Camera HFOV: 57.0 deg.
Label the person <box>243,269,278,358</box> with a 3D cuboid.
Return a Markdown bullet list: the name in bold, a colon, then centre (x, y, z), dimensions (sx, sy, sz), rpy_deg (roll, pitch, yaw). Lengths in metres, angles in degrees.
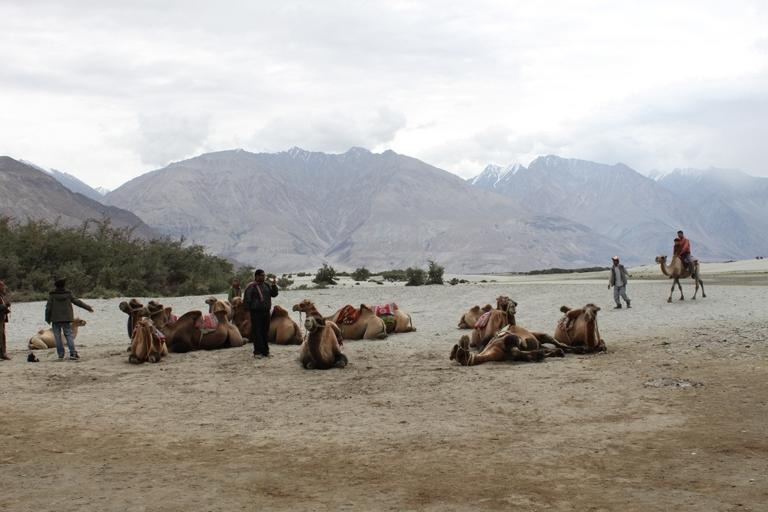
- **person**: centre (-2.988, 1.307, 17.297), dimensions (1.006, 1.943, 0.711), rpy_deg (0, 0, 23)

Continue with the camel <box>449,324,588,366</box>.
- **camel**: centre (3.026, 2.078, 16.247), dimensions (3.005, 0.744, 1.031), rpy_deg (-5, 13, -17)

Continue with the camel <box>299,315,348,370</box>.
- **camel**: centre (-1.406, 1.886, 15.841), dimensions (0.971, 1.307, 0.804), rpy_deg (-9, 15, -28)

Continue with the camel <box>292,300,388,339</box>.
- **camel**: centre (-1.398, 1.824, 19.415), dimensions (3.063, 1.342, 1.078), rpy_deg (3, -3, 0)

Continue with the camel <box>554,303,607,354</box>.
- **camel**: centre (4.640, 1.749, 17.044), dimensions (1.703, 1.238, 1.041), rpy_deg (-2, -3, 41)
